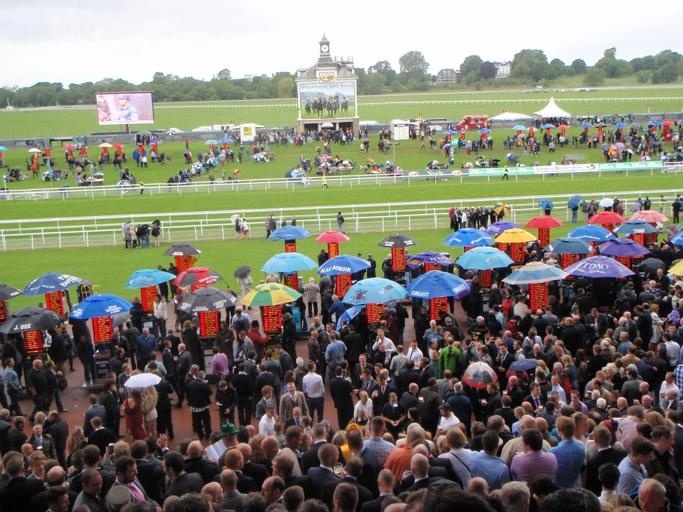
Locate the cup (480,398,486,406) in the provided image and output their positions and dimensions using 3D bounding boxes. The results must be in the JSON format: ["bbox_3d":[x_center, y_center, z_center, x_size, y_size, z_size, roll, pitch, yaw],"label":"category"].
[{"bbox_3d":[6.023,6.126,59.598,0.216,0.198,0.220,2,-8,0],"label":"cup"}]

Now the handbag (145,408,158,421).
[{"bbox_3d":[-8.076,6.695,60.164,0.569,0.787,0.409,1,2,7],"label":"handbag"}]

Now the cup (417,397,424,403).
[{"bbox_3d":[3.361,5.991,59.101,0.189,0.277,0.383,-3,7,6],"label":"cup"}]

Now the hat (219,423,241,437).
[{"bbox_3d":[-4.634,6.981,57.090,0.579,0.237,0.593,2,7,35],"label":"hat"}]

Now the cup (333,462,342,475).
[{"bbox_3d":[-0.086,8.493,56.434,0.338,0.374,0.483,-1,8,19],"label":"cup"}]
